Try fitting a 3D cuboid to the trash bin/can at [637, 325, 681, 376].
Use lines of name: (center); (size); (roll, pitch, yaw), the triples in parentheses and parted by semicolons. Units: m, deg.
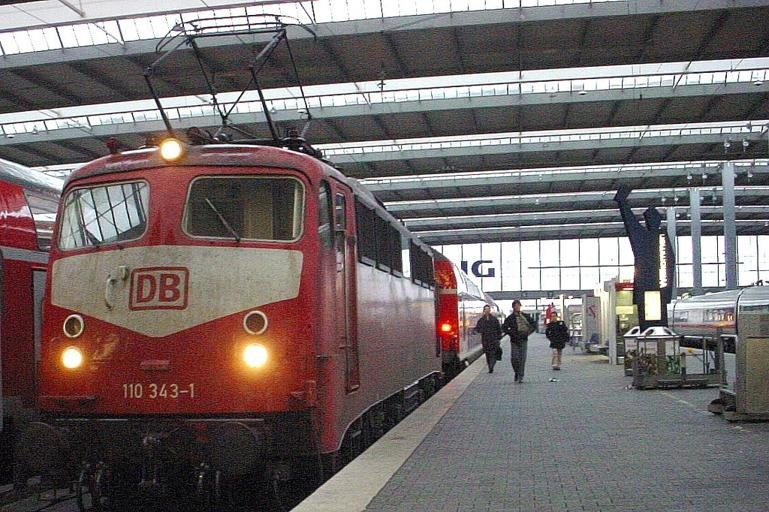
trash bin/can: (7.788, 2.782, 18.975); (1.496, 1.542, 1.290); (0, -11, -4)
